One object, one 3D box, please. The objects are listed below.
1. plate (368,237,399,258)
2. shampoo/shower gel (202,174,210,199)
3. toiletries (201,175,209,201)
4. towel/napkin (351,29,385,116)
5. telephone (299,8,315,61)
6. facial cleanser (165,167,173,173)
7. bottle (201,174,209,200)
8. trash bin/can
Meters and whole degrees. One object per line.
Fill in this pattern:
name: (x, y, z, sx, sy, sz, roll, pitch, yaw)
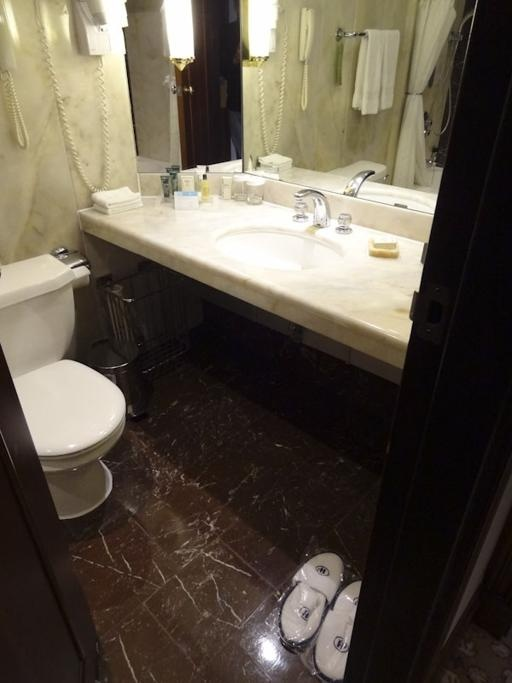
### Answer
plate: (0.408, -0.299, 1.503, 0.099, 0.037, 0.118, 8, 31, 11)
shampoo/shower gel: (-0.215, -0.656, 2.003, 0.026, 0.122, 0.045, 0, 38, -4)
toiletries: (-0.218, -0.645, 1.998, 0.023, 0.114, 0.042, -1, 40, -6)
towel/napkin: (0.363, -0.867, 1.526, 0.109, 0.238, 0.023, 23, 32, 39)
telephone: (0.172, -1.073, 1.652, 0.025, 0.159, 0.083, -14, 29, -30)
facial cleanser: (-0.378, -0.744, 2.040, 0.022, 0.019, 0.030, 15, 28, 32)
bottle: (-0.219, -0.652, 2.002, 0.027, 0.123, 0.048, -4, 35, -10)
trash bin/can: (-0.525, 0.151, 1.788, 0.143, 0.297, 0.165, 20, 40, 25)
